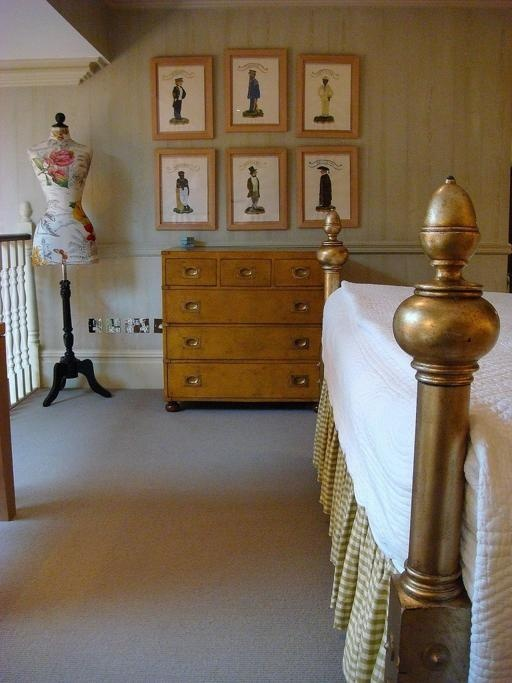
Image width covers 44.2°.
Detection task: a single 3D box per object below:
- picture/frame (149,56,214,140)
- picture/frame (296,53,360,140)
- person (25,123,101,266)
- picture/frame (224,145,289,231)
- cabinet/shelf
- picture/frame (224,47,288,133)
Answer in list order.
[{"bbox_3d":[-0.424,-1.436,3.658,0.525,0.561,0.048,0,10,0],"label":"picture/frame"},{"bbox_3d":[0.412,-1.436,3.634,0.527,0.569,0.042,0,8,0],"label":"picture/frame"},{"bbox_3d":[-1.040,-0.808,3.376,0.328,0.797,0.202,-2,11,-13],"label":"person"},{"bbox_3d":[0.011,-0.925,3.711,0.541,0.603,0.045,0,7,0],"label":"picture/frame"},{"bbox_3d":[-0.064,-0.074,3.316,1.011,0.853,0.366,0,7,0],"label":"cabinet/shelf"},{"bbox_3d":[0.006,-1.473,3.635,0.526,0.588,0.048,0,5,-2],"label":"picture/frame"}]
